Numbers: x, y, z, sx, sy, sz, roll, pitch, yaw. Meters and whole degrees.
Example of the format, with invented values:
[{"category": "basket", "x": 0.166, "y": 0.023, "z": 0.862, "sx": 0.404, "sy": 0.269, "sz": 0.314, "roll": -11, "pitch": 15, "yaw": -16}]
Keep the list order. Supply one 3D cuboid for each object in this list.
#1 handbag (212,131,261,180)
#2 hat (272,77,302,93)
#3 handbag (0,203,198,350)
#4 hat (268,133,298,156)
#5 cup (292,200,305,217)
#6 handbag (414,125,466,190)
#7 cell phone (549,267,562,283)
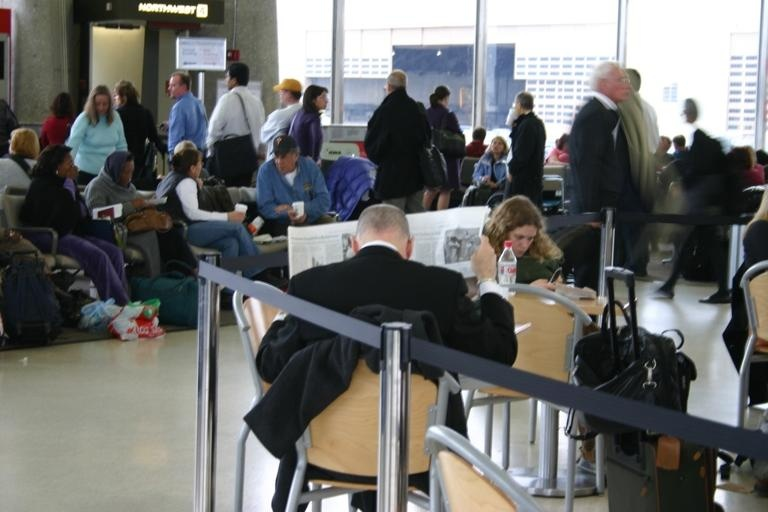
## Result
[{"category": "handbag", "x": -1.667, "y": -1.042, "z": 8.886, "sx": 0.649, "sy": 0.760, "sz": 0.424, "roll": -1, "pitch": 2, "yaw": -21}, {"category": "hat", "x": -1.174, "y": -2.016, "z": 9.311, "sx": 0.266, "sy": 0.178, "sz": 0.410, "roll": -8, "pitch": 11, "yaw": -40}, {"category": "handbag", "x": -2.468, "y": 0.199, "z": 6.664, "sx": 1.385, "sy": 1.404, "sz": 1.113, "roll": -1, "pitch": 0, "yaw": 18}, {"category": "hat", "x": -0.928, "y": -1.086, "z": 7.531, "sx": 0.189, "sy": 0.165, "sz": 0.282, "roll": 0, "pitch": 2, "yaw": 19}, {"category": "cup", "x": -0.804, "y": -0.451, "z": 7.408, "sx": 0.123, "sy": 0.141, "sz": 0.119, "roll": -1, "pitch": 2, "yaw": 0}, {"category": "handbag", "x": 0.637, "y": -1.168, "z": 9.067, "sx": 0.311, "sy": 0.934, "sz": 0.855, "roll": 0, "pitch": 7, "yaw": 24}, {"category": "cell phone", "x": 1.044, "y": 0.103, "z": 4.726, "sx": 0.063, "sy": 0.070, "sz": 0.229, "roll": 4, "pitch": 14, "yaw": 12}]
